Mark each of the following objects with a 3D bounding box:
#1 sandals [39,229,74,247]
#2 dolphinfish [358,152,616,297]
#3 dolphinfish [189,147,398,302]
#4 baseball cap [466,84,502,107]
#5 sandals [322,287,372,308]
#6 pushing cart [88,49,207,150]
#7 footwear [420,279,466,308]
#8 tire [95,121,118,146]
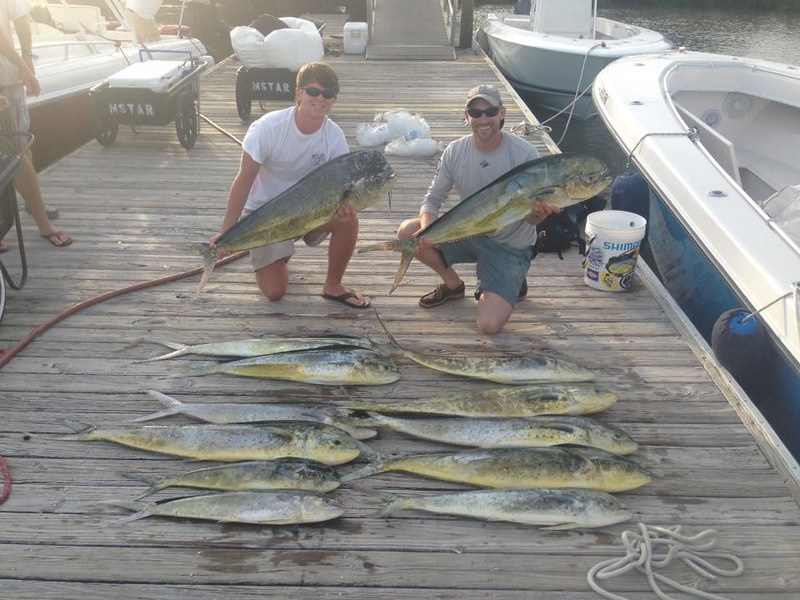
[{"bbox_3d":[-2.613,-0.467,6.986,0.276,0.051,0.109,15,37,18],"label":"sandals"},{"bbox_3d":[0.629,-0.522,5.924,1.855,0.467,0.427,-18,-27,33],"label":"dolphinfish"},{"bbox_3d":[-0.734,-0.521,5.922,0.463,0.483,1.565,28,45,37],"label":"dolphinfish"},{"bbox_3d":[0.554,-1.358,6.085,0.249,0.109,0.278,-1,9,14],"label":"baseball cap"},{"bbox_3d":[-0.375,-0.016,6.391,0.322,0.063,0.125,8,27,3],"label":"sandals"},{"bbox_3d":[-2.388,-2.052,9.251,0.975,0.607,1.184,6,34,3],"label":"pushing cart"},{"bbox_3d":[0.301,-0.030,6.425,0.437,0.104,0.135,-7,17,-11],"label":"footwear"},{"bbox_3d":[-2.892,-1.624,8.995,0.075,0.200,0.262,30,8,34],"label":"tire"}]
